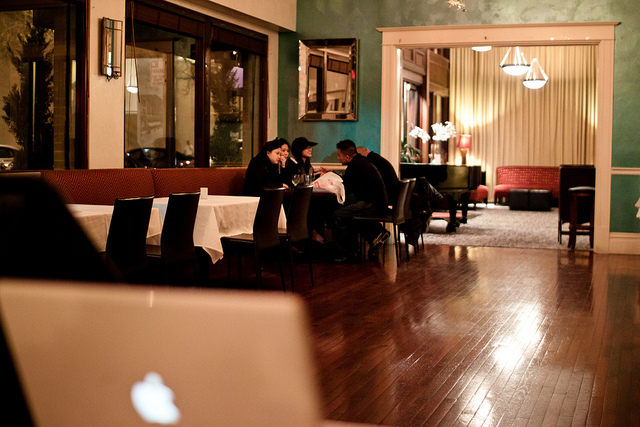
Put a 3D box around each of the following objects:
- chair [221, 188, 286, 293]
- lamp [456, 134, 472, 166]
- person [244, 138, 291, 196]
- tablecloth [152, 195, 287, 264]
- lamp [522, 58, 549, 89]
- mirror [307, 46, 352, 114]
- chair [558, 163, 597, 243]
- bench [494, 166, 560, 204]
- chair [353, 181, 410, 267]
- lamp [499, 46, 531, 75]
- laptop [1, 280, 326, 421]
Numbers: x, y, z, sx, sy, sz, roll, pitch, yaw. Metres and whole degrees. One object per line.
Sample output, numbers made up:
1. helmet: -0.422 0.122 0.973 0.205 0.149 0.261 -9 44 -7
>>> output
1. chair: -0.669 0.229 4.451 0.594 0.693 0.615 -1 -3 -18
2. lamp: 4.059 -1.862 14.216 0.396 0.849 0.595 3 7 16
3. person: -0.581 -0.573 6.006 0.459 0.667 0.973 3 7 16
4. tablecloth: -0.846 0.063 4.458 0.784 0.379 0.708 1 1 34
5. lamp: 5.667 -3.818 13.337 0.634 0.788 0.651 -13 25 -16
6. mirror: 0.161 -2.171 7.872 0.926 1.408 0.102 1 3 18
7. chair: 4.041 -0.181 8.087 0.581 1.256 0.650 -2 5 6
8. bench: 5.673 -0.766 13.789 1.696 1.010 0.870 2 15 27
9. chair: 0.762 0.131 6.198 0.569 0.920 0.562 -4 -4 29
10. lamp: 4.831 -3.936 12.359 0.519 0.863 0.530 1 4 30
11. laptop: -0.154 0.131 0.464 0.138 0.107 0.109 1 6 16
